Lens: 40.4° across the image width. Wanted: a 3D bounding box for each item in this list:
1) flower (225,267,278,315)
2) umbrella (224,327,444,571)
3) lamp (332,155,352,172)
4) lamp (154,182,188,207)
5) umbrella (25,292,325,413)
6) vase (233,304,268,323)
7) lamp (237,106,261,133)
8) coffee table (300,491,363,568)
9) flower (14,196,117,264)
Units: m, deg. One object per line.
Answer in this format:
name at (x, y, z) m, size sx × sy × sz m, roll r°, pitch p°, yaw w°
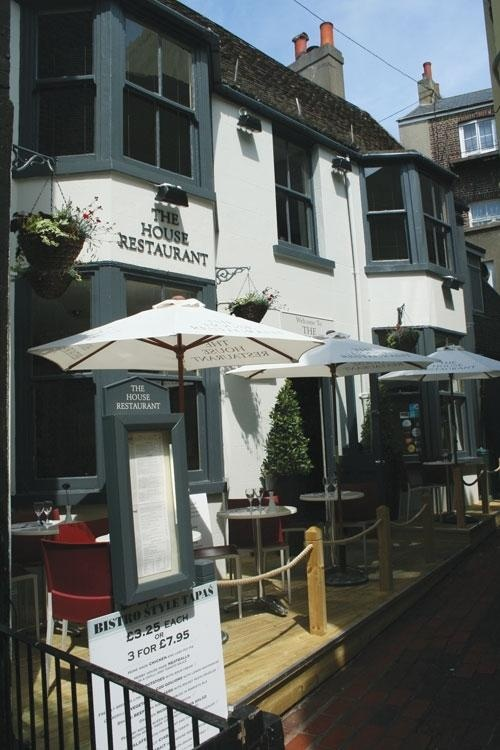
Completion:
flower at (0.064, -0.963, 7.777) m, size 0.636 × 0.630 × 0.490 m, roll -7°, pitch 12°, yaw -15°
umbrella at (0.870, 0.305, 7.037) m, size 1.928 × 1.737 × 1.830 m, roll 0°, pitch 14°, yaw 8°
lamp at (1.380, -3.244, 10.399) m, size 0.199 × 0.250 × 0.373 m, roll -1°, pitch 8°, yaw 37°
lamp at (-0.787, -1.811, 6.857) m, size 0.284 × 0.188 × 0.205 m, roll 12°, pitch -6°, yaw -43°
umbrella at (-0.517, -0.152, 4.917) m, size 1.573 × 0.555 × 1.659 m, roll 2°, pitch -1°, yaw 39°
vase at (-0.017, -0.708, 7.504) m, size 0.297 × 0.136 × 0.297 m, roll -3°, pitch -4°, yaw 3°
lamp at (-0.007, -3.264, 8.653) m, size 0.242 × 0.328 × 0.437 m, roll 2°, pitch -1°, yaw 18°
coffee table at (0.870, 1.489, 6.677) m, size 0.546 × 0.615 × 0.538 m, roll 6°, pitch -19°, yaw -26°
flower at (-1.598, -1.216, 5.545) m, size 0.544 × 0.277 × 0.561 m, roll -11°, pitch 29°, yaw -33°
